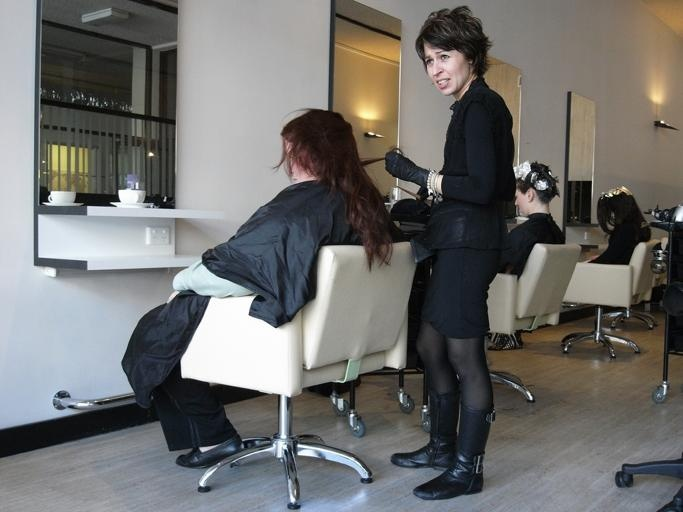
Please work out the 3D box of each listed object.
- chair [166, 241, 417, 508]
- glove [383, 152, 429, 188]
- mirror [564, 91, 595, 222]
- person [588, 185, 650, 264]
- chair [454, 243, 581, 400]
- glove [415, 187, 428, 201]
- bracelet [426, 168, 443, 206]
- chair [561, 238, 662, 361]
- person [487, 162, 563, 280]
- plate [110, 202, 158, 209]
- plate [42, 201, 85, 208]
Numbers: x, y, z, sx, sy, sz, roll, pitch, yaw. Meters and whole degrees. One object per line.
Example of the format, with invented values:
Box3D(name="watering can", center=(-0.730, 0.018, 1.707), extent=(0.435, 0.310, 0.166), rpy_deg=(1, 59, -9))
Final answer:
Box3D(name="chair", center=(-0.183, 0.380, 2.809), extent=(1.119, 1.291, 1.016), rpy_deg=(2, 2, 34))
Box3D(name="glove", center=(0.293, -0.397, 2.491), extent=(0.220, 0.115, 0.082), rpy_deg=(30, -5, 13))
Box3D(name="mirror", center=(2.963, -1.193, 6.800), extent=(0.166, 1.611, 0.760), rpy_deg=(5, 6, 39))
Box3D(name="person", center=(2.837, -0.309, 5.669), extent=(0.566, 0.817, 0.618), rpy_deg=(-16, 18, -37))
Box3D(name="chair", center=(1.097, 0.364, 3.954), extent=(1.004, 1.206, 0.866), rpy_deg=(3, 4, 42))
Box3D(name="glove", center=(0.379, -0.295, 2.559), extent=(0.043, 0.060, 0.022), rpy_deg=(-6, 1, 36))
Box3D(name="bracelet", center=(0.400, -0.289, 2.412), extent=(0.047, 0.125, 0.107), rpy_deg=(1, 11, 7))
Box3D(name="chair", center=(2.602, 0.350, 5.545), extent=(1.119, 1.396, 1.014), rpy_deg=(1, 1, 29))
Box3D(name="person", center=(1.368, -0.295, 3.914), extent=(0.389, 0.753, 0.756), rpy_deg=(9, 13, 41))
Box3D(name="plate", center=(-1.120, -0.267, 2.865), extent=(0.112, 0.017, 0.114), rpy_deg=(-1, -1, 20))
Box3D(name="plate", center=(-1.370, -0.255, 2.704), extent=(0.325, 0.027, 0.105), rpy_deg=(4, 5, 33))
